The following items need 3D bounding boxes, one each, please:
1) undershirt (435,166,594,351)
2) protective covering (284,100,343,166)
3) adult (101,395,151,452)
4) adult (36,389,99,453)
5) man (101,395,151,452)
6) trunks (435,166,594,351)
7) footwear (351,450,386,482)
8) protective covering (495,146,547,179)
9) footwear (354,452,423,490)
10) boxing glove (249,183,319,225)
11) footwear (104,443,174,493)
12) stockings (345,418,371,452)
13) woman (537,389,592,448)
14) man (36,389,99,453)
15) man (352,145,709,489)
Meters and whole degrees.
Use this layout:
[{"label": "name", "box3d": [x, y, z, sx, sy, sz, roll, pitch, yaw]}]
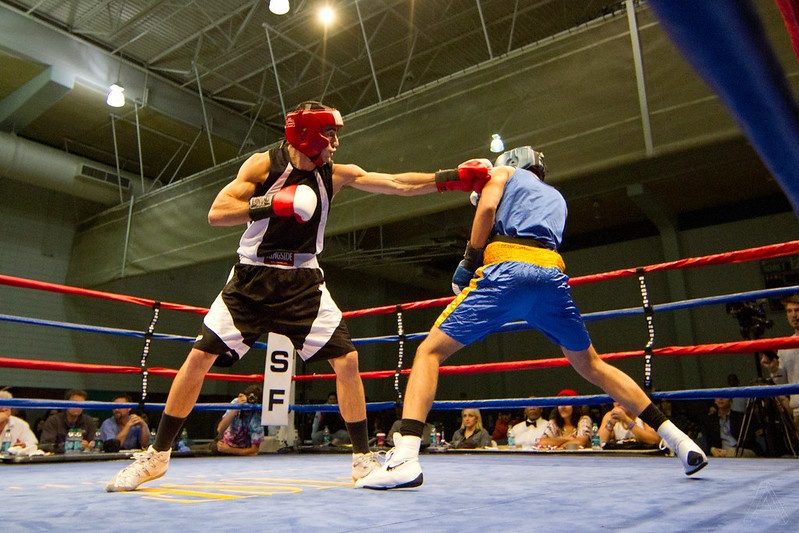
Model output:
[{"label": "undershirt", "box3d": [0.519, -0.059, 2.628, 0.722, 0.853, 0.308, 1, -21, -2]}, {"label": "protective covering", "box3d": [-0.429, -0.654, 2.812, 0.296, 0.284, 0.239, -9, -8, -2]}, {"label": "adult", "box3d": [-2.796, 1.636, 5.795, 0.359, 0.583, 0.460, -35, -29, 24]}, {"label": "adult", "box3d": [-3.259, 1.593, 5.687, 0.409, 0.610, 0.486, -18, -28, 38]}, {"label": "man", "box3d": [-2.790, 1.634, 5.808, 0.353, 0.582, 0.473, -36, -30, 31]}, {"label": "trunks", "box3d": [0.518, -0.060, 2.627, 0.720, 0.854, 0.306, 1, -21, -1]}, {"label": "footwear", "box3d": [-0.168, 0.958, 2.768, 0.103, 0.124, 0.300, 21, -34, -35]}, {"label": "protective covering", "box3d": [0.586, -0.529, 2.925, 0.209, 0.167, 0.149, 1, 3, 10]}, {"label": "footwear", "box3d": [-0.072, 0.844, 2.375, 0.314, 0.126, 0.106, -17, -35, 31]}, {"label": "boxing glove", "box3d": [-0.523, -0.267, 2.599, 0.323, 0.117, 0.198, -6, -5, 7]}, {"label": "footwear", "box3d": [-1.142, 0.871, 2.504, 0.108, 0.129, 0.326, 10, 3, 24]}, {"label": "stockings", "box3d": [-0.193, 0.820, 2.806, 0.141, 0.203, 0.142, -3, -27, -4]}, {"label": "woman", "box3d": [1.560, 1.458, 5.405, 0.444, 0.595, 0.596, -12, -28, 25]}, {"label": "man", "box3d": [-3.261, 1.588, 5.700, 0.405, 0.612, 0.490, -21, -27, 36]}, {"label": "man", "box3d": [0.575, 0.152, 2.862, 1.741, 1.544, 0.860, 6, -7, -9]}]
